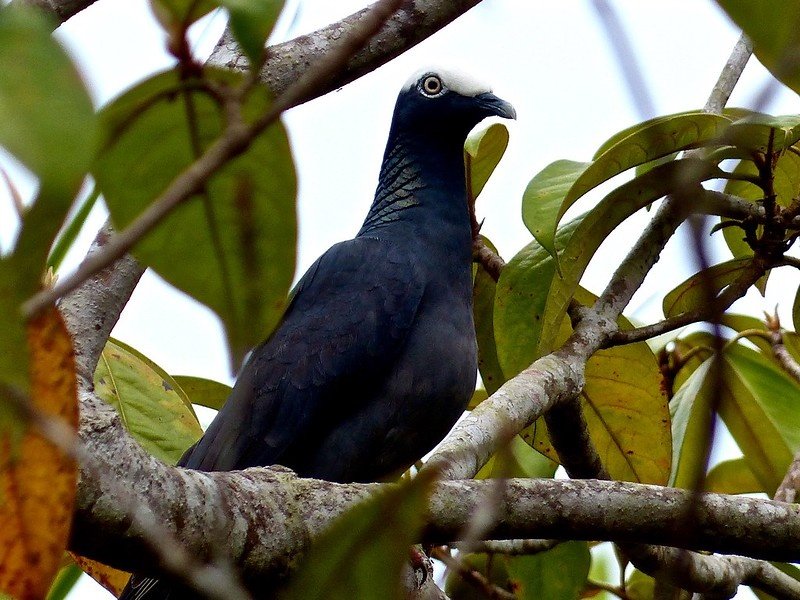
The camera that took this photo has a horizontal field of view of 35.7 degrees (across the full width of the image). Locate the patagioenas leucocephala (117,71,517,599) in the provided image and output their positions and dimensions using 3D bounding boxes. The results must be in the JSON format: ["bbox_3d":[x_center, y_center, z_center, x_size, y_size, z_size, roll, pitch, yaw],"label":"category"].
[{"bbox_3d":[-0.010,-0.046,3.815,0.657,1.518,0.612,27,-42,-4],"label":"patagioenas leucocephala"}]
